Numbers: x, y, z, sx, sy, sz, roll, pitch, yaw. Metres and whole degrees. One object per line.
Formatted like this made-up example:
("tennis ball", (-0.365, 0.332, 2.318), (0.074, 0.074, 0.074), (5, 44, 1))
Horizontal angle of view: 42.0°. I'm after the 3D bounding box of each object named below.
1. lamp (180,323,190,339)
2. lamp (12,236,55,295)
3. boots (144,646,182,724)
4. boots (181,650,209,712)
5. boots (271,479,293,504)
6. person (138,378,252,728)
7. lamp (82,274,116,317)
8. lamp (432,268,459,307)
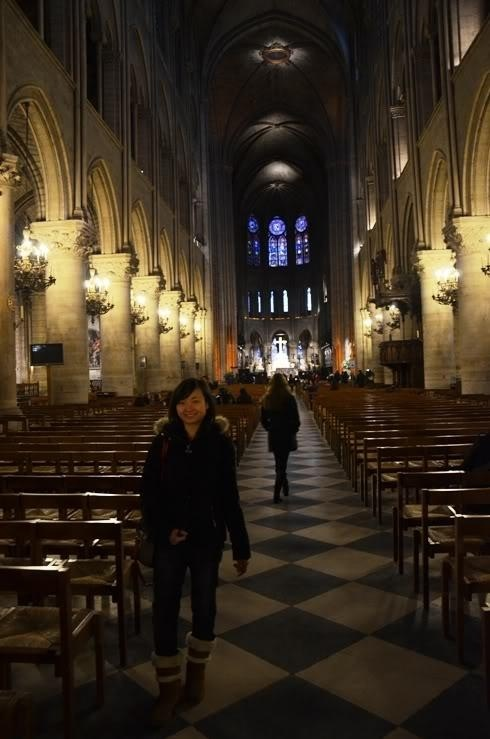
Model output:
("lamp", (-3.050, -1.921, 32.264), (0.410, 0.694, 1.100), (-2, 1, -3))
("lamp", (-4.355, -2.119, 12.706), (0.770, 1.465, 0.779), (-8, -2, 44))
("boots", (-0.334, 1.331, 2.708), (0.098, 0.242, 0.309), (-2, 3, 6))
("boots", (-0.223, 1.342, 2.807), (0.116, 0.222, 0.130), (-2, 1, -20))
("boots", (0.429, 1.445, 7.468), (0.105, 0.262, 0.346), (2, 4, 12))
("person", (-0.229, 0.754, 2.866), (0.493, 1.427, 0.363), (-2, 1, -27))
("lamp", (-4.041, -2.136, 17.679), (0.628, 1.217, 2.441), (-2, 1, -11))
("lamp", (5.382, -2.251, 17.361), (0.644, 0.946, 2.409), (-2, 1, 17))
